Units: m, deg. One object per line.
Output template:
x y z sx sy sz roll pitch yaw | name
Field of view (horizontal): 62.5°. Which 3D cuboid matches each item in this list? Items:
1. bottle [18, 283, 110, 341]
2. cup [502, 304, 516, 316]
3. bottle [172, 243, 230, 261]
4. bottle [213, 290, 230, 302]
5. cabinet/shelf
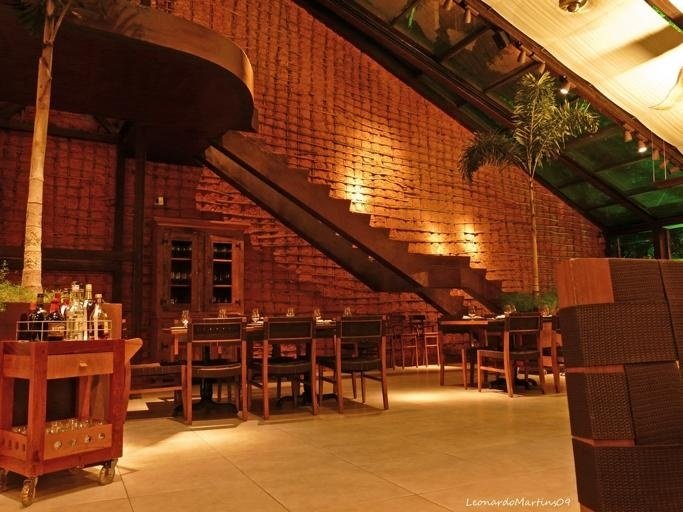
-1.923 0.397 3.837 0.500 0.331 0.493 1 -6 0 | bottle
2.117 0.690 7.086 0.154 0.134 0.150 -1 -19 0 | cup
-1.951 -0.065 7.901 0.842 0.249 0.069 4 -15 -27 | bottle
-1.716 0.576 7.981 0.174 0.142 0.084 5 -15 -29 | bottle
-2.006 0.659 8.027 1.331 1.961 0.589 1 4 -22 | cabinet/shelf
